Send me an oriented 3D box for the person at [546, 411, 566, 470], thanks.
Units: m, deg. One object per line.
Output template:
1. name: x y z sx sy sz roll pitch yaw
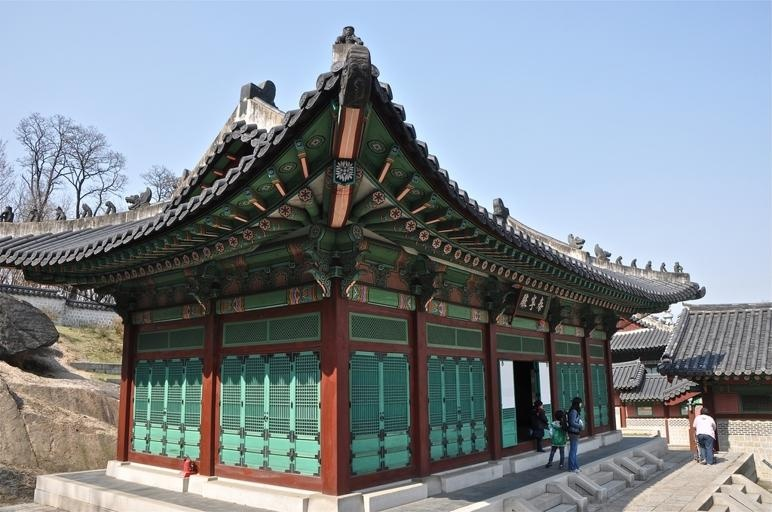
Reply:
1. person: 5.156 5.423 19.533 0.521 1.581 1.357 7 -1 15

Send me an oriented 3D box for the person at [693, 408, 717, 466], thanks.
1. person: 10.915 6.241 22.419 0.708 1.646 1.297 7 -1 1
